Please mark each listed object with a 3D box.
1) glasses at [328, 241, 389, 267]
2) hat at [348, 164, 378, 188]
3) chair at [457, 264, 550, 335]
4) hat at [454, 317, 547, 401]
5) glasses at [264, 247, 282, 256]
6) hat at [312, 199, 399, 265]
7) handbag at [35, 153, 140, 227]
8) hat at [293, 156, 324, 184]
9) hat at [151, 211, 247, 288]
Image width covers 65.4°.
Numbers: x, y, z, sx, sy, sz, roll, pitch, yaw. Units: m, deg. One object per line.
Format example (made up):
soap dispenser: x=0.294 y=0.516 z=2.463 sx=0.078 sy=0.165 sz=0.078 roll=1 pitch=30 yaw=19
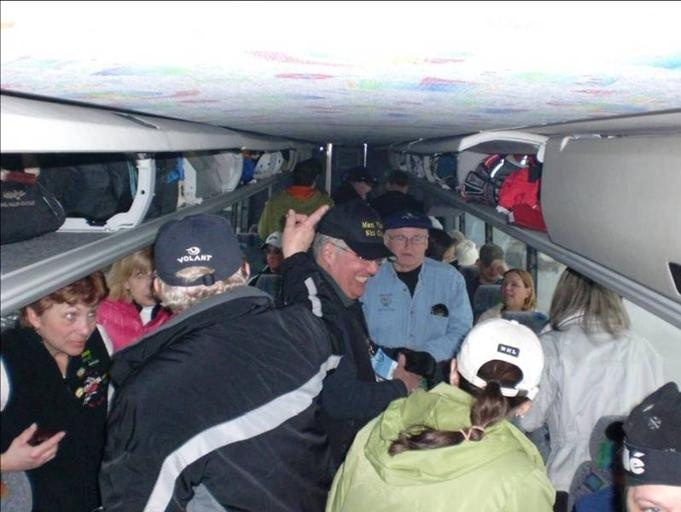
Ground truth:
glasses: x=0.086 y=-0.050 z=2.867 sx=0.268 sy=0.078 sz=0.159 roll=15 pitch=4 yaw=9
hat: x=0.292 y=-1.023 z=6.792 sx=0.267 sy=0.194 sz=0.383 roll=11 pitch=11 yaw=35
chair: x=1.412 y=0.359 z=4.513 sx=0.526 sy=0.459 sz=0.868 roll=2 pitch=30 yaw=6
hat: x=0.629 y=0.352 z=2.064 sx=0.260 sy=0.202 sz=0.338 roll=7 pitch=15 yaw=4
glasses: x=-0.614 y=-0.071 z=4.934 sx=0.112 sy=0.115 sz=0.035 roll=-8 pitch=16 yaw=28
hat: x=0.101 y=-0.141 z=2.927 sx=0.385 sy=0.235 sz=0.286 roll=20 pitch=5 yaw=18
handbag: x=-1.121 y=-0.319 z=2.318 sx=0.375 sy=0.276 sz=0.120 roll=0 pitch=-14 yaw=-31
hat: x=-0.383 y=-1.013 z=6.293 sx=0.283 sy=0.358 sz=0.367 roll=-5 pitch=15 yaw=-34
hat: x=-0.506 y=-0.018 z=1.864 sx=0.264 sy=0.148 sz=0.267 roll=-9 pitch=49 yaw=-16
